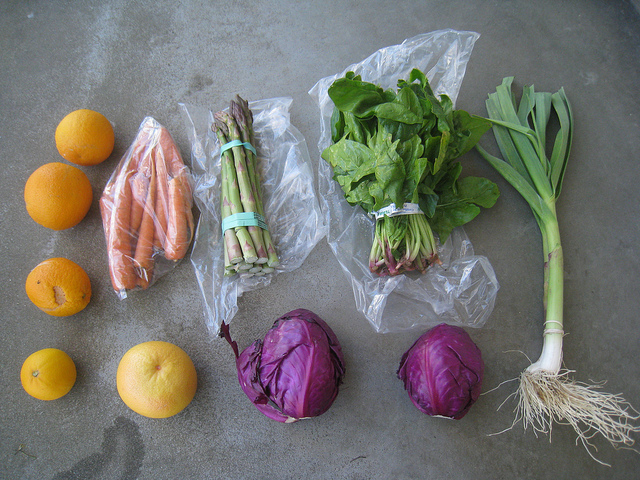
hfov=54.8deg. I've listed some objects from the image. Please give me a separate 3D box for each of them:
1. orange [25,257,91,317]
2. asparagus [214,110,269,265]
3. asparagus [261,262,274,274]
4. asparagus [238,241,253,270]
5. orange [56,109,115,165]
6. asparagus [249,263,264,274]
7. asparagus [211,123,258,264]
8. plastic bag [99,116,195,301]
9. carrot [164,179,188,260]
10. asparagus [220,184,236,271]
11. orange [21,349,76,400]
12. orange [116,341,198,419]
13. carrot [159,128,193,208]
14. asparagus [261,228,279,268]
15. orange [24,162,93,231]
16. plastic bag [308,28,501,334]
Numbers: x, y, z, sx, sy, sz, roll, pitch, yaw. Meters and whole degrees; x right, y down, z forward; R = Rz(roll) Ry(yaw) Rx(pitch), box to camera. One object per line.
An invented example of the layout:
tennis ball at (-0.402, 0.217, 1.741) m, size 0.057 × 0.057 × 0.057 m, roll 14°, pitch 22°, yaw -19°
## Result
orange at (-0.945, 0.176, 2.255) m, size 0.206 × 0.155 × 0.204 m, roll 21°, pitch 75°, yaw 9°
asparagus at (-0.271, -0.184, 2.296) m, size 0.169 × 0.537 × 0.185 m, roll -19°, pitch 43°, yaw -29°
asparagus at (-0.197, 0.105, 2.309) m, size 0.031 × 0.036 × 0.014 m, roll 9°, pitch 28°, yaw -7°
asparagus at (-0.273, 0.049, 2.259) m, size 0.056 × 0.034 × 0.094 m, roll -3°, pitch 83°, yaw 3°
orange at (-0.868, -0.377, 2.349) m, size 0.177 × 0.193 × 0.219 m, roll -9°, pitch 101°, yaw -12°
asparagus at (-0.238, 0.106, 2.299) m, size 0.041 × 0.032 × 0.020 m, roll -25°, pitch 32°, yaw 14°
asparagus at (-0.305, -0.147, 2.290) m, size 0.099 × 0.082 × 0.670 m, roll -6°, pitch 73°, yaw -10°
plastic bag at (-0.658, -0.139, 2.367) m, size 0.364 × 0.165 × 0.724 m, roll -11°, pitch 75°, yaw 23°
carrot at (-0.537, -0.068, 2.293) m, size 0.072 × 0.073 × 0.309 m, roll 1°, pitch 81°, yaw -15°
asparagus at (-0.344, -0.058, 2.325) m, size 0.037 × 0.041 × 0.340 m, roll -6°, pitch 77°, yaw -1°
orange at (-1.003, 0.487, 2.280) m, size 0.199 × 0.211 × 0.203 m, roll 8°, pitch 58°, yaw -25°
orange at (-0.580, 0.493, 2.196) m, size 0.260 × 0.110 × 0.263 m, roll -27°, pitch 74°, yaw -5°
carrot at (-0.534, -0.253, 2.370) m, size 0.102 × 0.306 × 0.107 m, roll -16°, pitch 36°, yaw -15°
asparagus at (-0.183, 0.030, 2.314) m, size 0.042 × 0.043 × 0.169 m, roll -11°, pitch 76°, yaw -6°
orange at (-0.937, -0.151, 2.260) m, size 0.223 × 0.220 × 0.248 m, roll 10°, pitch 75°, yaw -24°
plastic bag at (0.315, -0.203, 2.617) m, size 0.647 × 0.225 × 1.183 m, roll -6°, pitch 86°, yaw -4°
